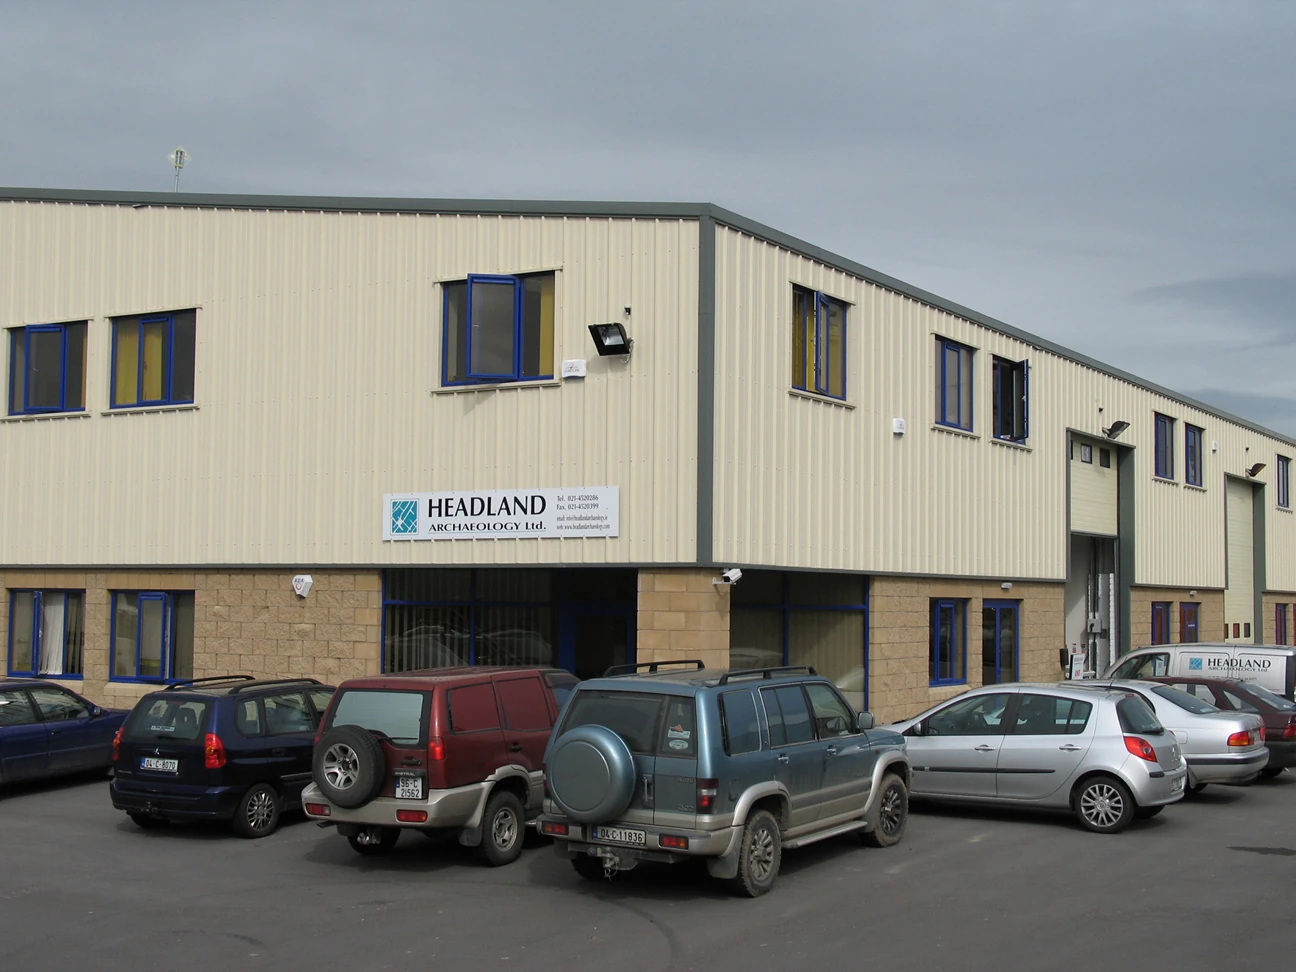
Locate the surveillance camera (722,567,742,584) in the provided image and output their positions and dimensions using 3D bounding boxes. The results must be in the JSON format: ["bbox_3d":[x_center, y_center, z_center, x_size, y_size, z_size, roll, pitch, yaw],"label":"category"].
[{"bbox_3d":[1.385,1.470,23.120,0.297,0.269,0.725,0,5,11],"label":"surveillance camera"}]
